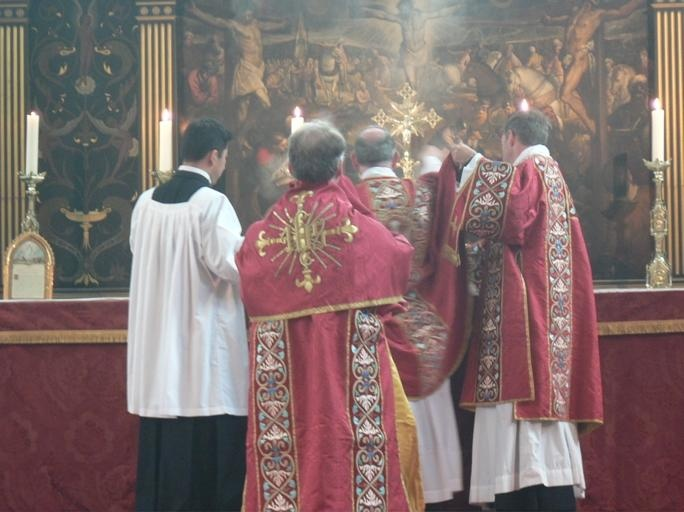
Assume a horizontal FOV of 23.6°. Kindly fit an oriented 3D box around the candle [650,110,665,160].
[{"bbox_3d":[2.188,-0.834,11.365,0.080,0.350,0.132,-1,-3,6],"label":"candle"}]
